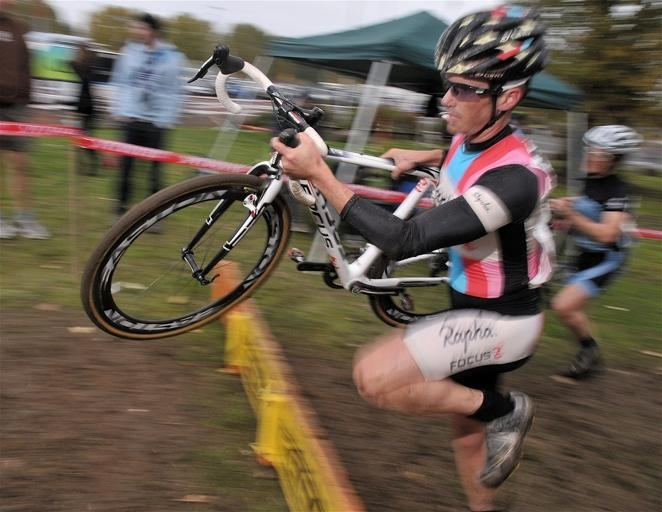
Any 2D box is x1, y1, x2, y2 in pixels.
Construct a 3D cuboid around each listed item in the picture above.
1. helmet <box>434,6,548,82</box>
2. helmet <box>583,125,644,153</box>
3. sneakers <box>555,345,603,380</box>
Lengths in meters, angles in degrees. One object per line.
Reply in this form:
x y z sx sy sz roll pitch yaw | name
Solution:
0.880 -1.112 3.322 0.567 0.412 0.286 10 25 -4 | helmet
2.122 -0.894 4.835 0.437 0.203 0.117 14 -25 18 | helmet
2.089 0.853 5.083 0.588 0.179 0.195 -4 58 -48 | sneakers
